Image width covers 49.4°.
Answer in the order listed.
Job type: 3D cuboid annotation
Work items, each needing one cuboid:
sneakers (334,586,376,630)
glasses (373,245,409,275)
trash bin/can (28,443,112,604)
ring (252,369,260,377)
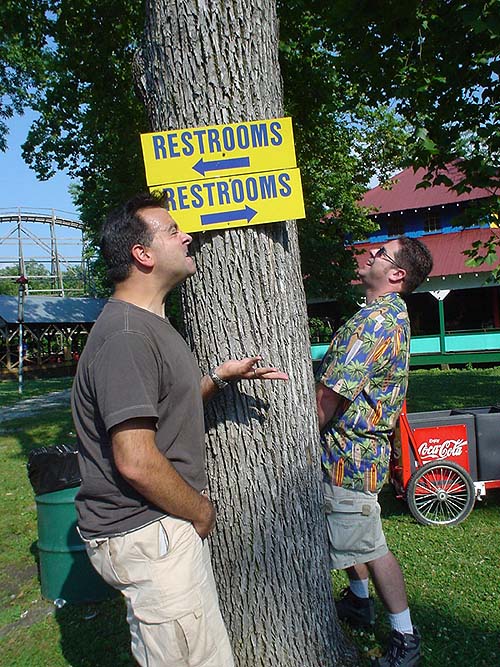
[{"bbox_3d":[0.487,1.456,2.898,0.299,0.174,0.096,3,-10,10],"label":"sneakers"},{"bbox_3d":[0.715,-0.376,2.734,0.130,0.038,0.129,36,4,-14],"label":"glasses"},{"bbox_3d":[-1.264,1.425,4.241,0.680,1.063,0.671,-2,-9,-24],"label":"trash bin/can"},{"bbox_3d":[0.023,0.158,2.167,0.022,0.028,0.012,-5,-7,39],"label":"ring"}]
